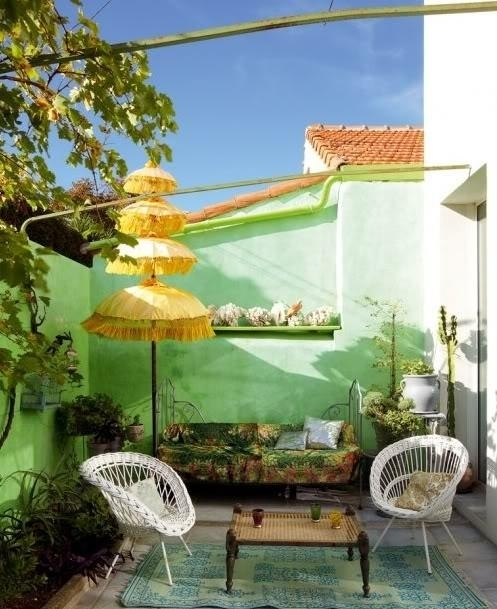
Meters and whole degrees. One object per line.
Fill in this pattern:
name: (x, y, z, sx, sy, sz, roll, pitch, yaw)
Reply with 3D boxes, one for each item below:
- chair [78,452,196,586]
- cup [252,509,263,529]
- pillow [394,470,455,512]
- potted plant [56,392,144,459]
chair: (-0.855, 1.566, 4.360, 1.051, 0.923, 1.110, -2, -5, 4)
cup: (0.071, 1.666, 4.192, 0.119, 0.113, 0.111, 3, -8, 0)
pillow: (1.443, 1.581, 4.596, 0.486, 0.259, 0.426, 3, -7, -29)
potted plant: (-1.759, 1.384, 6.226, 0.738, 0.689, 0.763, -1, -6, 1)
